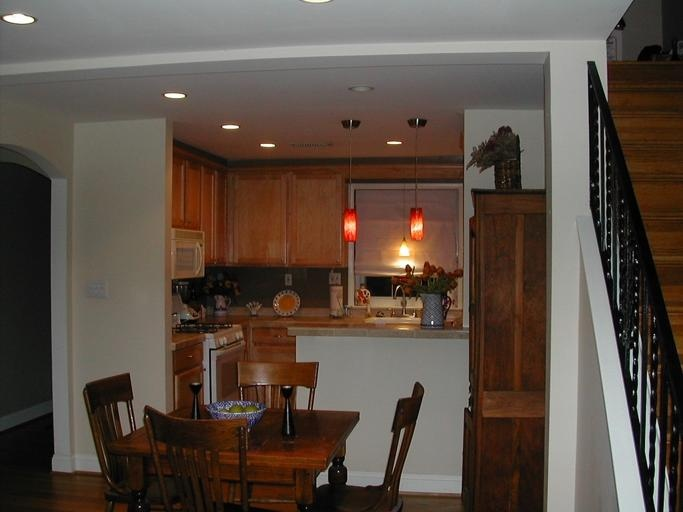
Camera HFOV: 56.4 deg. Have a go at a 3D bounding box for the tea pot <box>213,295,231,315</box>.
[{"bbox_3d":[-1.395,0.566,7.394,0.186,0.232,0.327,0,0,-11],"label":"tea pot"}]

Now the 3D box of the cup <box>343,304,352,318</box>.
[{"bbox_3d":[0.059,0.619,7.081,0.098,0.166,0.107,2,0,0],"label":"cup"}]

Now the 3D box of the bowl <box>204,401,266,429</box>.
[{"bbox_3d":[-0.627,0.906,3.717,0.222,0.102,0.240,1,-1,0],"label":"bowl"}]

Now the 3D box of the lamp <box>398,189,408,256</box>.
[{"bbox_3d":[0.677,-0.391,7.004,0.128,0.819,0.569,0,0,5],"label":"lamp"}]

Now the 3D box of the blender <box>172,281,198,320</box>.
[{"bbox_3d":[-1.688,0.484,6.881,0.220,0.535,0.297,-2,-4,0],"label":"blender"}]

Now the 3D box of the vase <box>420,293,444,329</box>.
[{"bbox_3d":[0.730,0.452,5.134,0.235,0.332,0.230,1,-6,-1],"label":"vase"}]

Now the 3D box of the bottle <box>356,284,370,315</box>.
[{"bbox_3d":[0.227,0.505,7.086,0.058,0.284,0.149,-5,-1,32],"label":"bottle"}]

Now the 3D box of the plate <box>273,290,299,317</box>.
[{"bbox_3d":[-0.643,0.540,7.356,0.269,0.308,0.172,0,0,21],"label":"plate"}]

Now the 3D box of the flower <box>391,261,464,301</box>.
[{"bbox_3d":[0.714,0.252,5.373,0.547,0.352,0.594,2,3,35],"label":"flower"}]

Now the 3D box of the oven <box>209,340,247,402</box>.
[{"bbox_3d":[-1.084,1.079,5.919,0.318,0.483,0.661,0,-2,7],"label":"oven"}]

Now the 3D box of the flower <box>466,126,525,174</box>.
[{"bbox_3d":[1.063,-0.760,4.516,0.375,0.282,0.151,0,0,41],"label":"flower"}]

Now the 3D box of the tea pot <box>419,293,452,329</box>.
[{"bbox_3d":[0.753,0.417,5.299,0.217,0.355,0.338,3,-3,-13],"label":"tea pot"}]

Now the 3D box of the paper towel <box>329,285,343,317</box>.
[{"bbox_3d":[-0.065,0.500,7.181,0.161,0.339,0.322,0,0,-1],"label":"paper towel"}]

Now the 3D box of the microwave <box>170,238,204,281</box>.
[{"bbox_3d":[-1.449,0.035,5.973,0.265,0.364,0.497,-1,-2,6],"label":"microwave"}]
